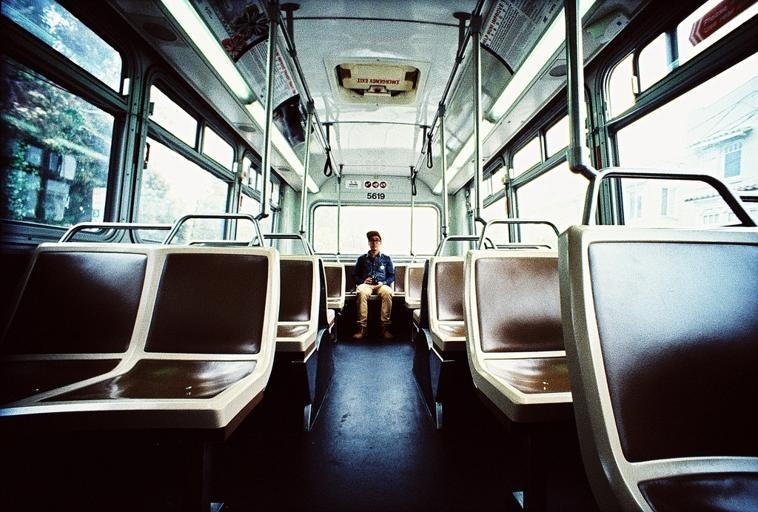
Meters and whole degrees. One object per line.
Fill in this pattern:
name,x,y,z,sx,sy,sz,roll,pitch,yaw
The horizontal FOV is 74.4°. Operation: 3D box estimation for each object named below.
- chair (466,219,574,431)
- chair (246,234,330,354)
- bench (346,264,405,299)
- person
chair,0.953,0.326,2.974,0.773,1.119,0.980,0,5,3
chair,-0.601,0.365,3.810,0.546,0.883,0.871,-1,-12,-1
bench,0.052,0.292,6.873,0.673,0.461,0.303,0,-13,-4
person,-0.056,0.360,6.117,0.483,1.216,0.959,0,14,-3
